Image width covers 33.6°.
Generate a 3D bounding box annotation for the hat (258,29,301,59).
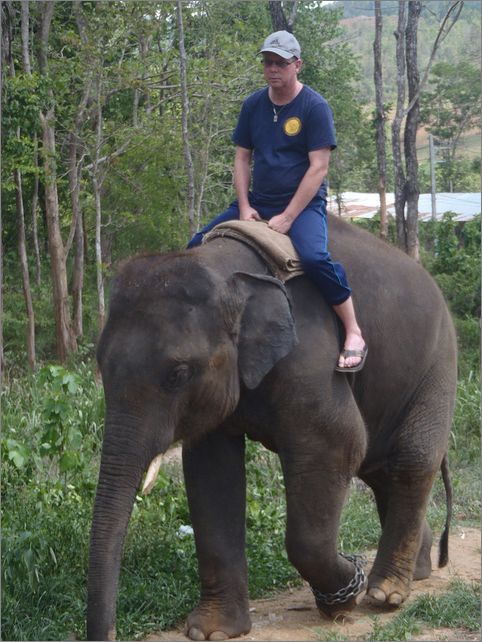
[{"bbox_3d":[0.176,-1.176,3.437,0.126,0.093,0.174,8,-6,17],"label":"hat"}]
